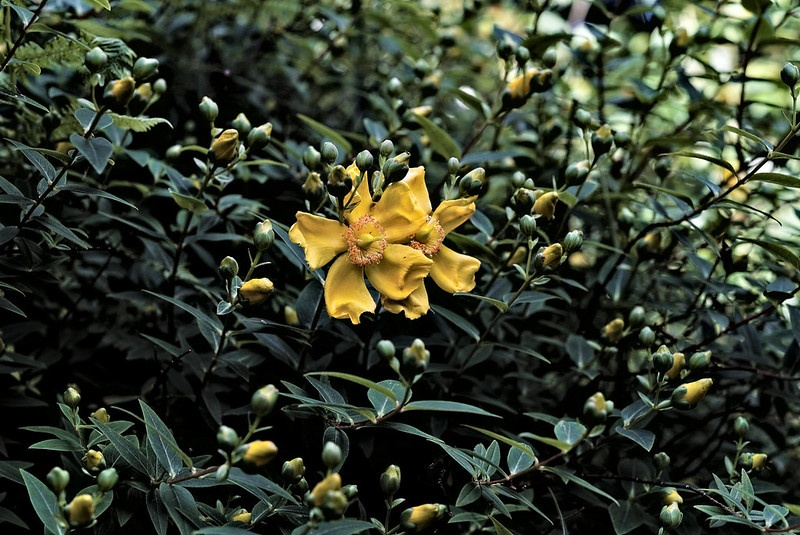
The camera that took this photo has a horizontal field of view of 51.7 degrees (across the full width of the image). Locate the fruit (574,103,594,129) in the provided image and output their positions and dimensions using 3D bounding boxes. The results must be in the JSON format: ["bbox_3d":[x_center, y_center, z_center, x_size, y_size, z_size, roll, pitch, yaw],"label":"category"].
[{"bbox_3d":[0.539,-0.456,2.471,0.053,0.062,0.075,38,17,-1],"label":"fruit"}]

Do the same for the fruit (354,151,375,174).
[{"bbox_3d":[-0.095,-0.290,2.234,0.048,0.063,0.056,12,13,18],"label":"fruit"}]

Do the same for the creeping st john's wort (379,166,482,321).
[{"bbox_3d":[0.050,-0.080,2.348,0.347,0.383,0.142,-17,21,-36],"label":"creeping st john's wort"}]

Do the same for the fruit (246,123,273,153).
[{"bbox_3d":[-0.382,-0.357,2.254,0.030,0.084,0.048,1,63,-54],"label":"fruit"}]

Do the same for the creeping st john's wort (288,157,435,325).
[{"bbox_3d":[-0.103,-0.062,2.220,0.372,0.438,0.113,30,6,-1],"label":"creeping st john's wort"}]

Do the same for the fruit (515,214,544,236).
[{"bbox_3d":[0.351,-0.113,2.262,0.057,0.056,0.047,22,-6,-13],"label":"fruit"}]

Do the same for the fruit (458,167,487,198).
[{"bbox_3d":[0.209,-0.238,2.307,0.029,0.090,0.051,8,53,-32],"label":"fruit"}]
